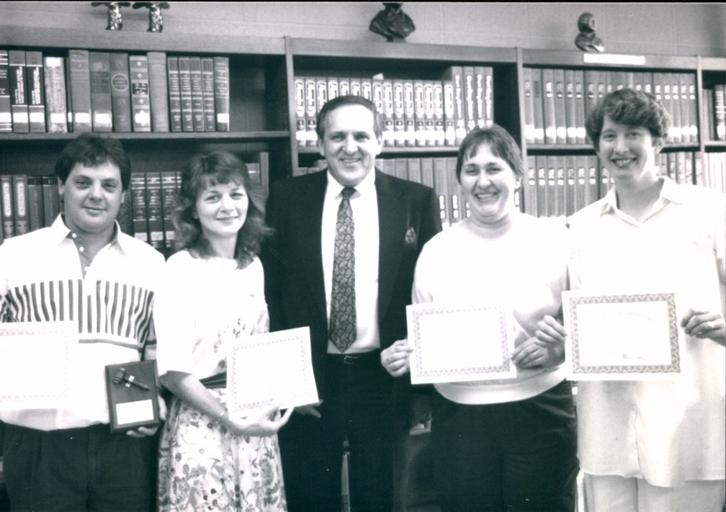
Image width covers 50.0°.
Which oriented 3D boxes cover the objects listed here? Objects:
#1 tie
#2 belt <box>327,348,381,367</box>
[{"bbox_3d":[-0.092,0.057,3.300,0.128,0.564,0.122,-2,1,-2],"label":"tie"},{"bbox_3d":[-0.044,0.434,3.273,0.214,0.057,0.030,-2,1,-2],"label":"belt"}]
